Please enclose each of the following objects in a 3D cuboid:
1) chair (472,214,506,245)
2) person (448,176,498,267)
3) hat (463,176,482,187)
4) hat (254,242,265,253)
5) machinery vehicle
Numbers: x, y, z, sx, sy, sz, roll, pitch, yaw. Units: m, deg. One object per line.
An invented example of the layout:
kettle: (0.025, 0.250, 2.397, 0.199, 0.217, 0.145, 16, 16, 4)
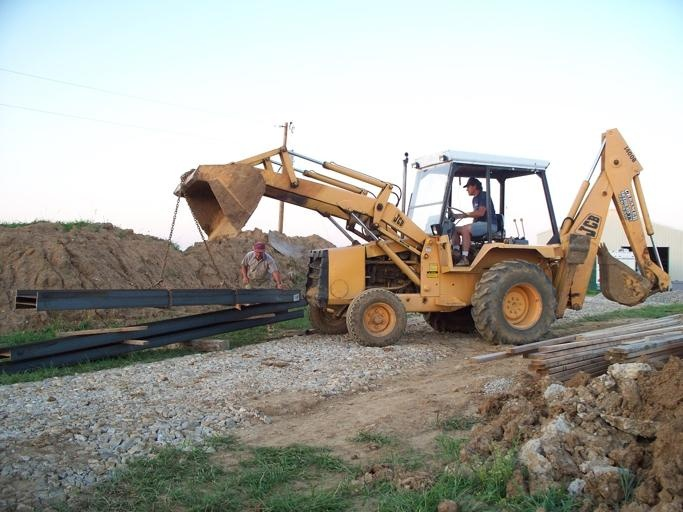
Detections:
chair: (2.770, -0.538, 8.147, 0.740, 0.524, 0.471, 1, -2, -8)
person: (2.380, -0.651, 8.016, 0.707, 1.619, 0.302, 5, 4, 10)
hat: (2.421, -1.373, 8.042, 0.301, 0.130, 0.177, 2, -4, 2)
hat: (-1.629, -0.196, 8.918, 0.260, 0.169, 0.200, -13, -24, -4)
machinery vehicle: (2.071, -0.491, 8.593, 9.546, 3.186, 2.749, 3, 5, -10)
